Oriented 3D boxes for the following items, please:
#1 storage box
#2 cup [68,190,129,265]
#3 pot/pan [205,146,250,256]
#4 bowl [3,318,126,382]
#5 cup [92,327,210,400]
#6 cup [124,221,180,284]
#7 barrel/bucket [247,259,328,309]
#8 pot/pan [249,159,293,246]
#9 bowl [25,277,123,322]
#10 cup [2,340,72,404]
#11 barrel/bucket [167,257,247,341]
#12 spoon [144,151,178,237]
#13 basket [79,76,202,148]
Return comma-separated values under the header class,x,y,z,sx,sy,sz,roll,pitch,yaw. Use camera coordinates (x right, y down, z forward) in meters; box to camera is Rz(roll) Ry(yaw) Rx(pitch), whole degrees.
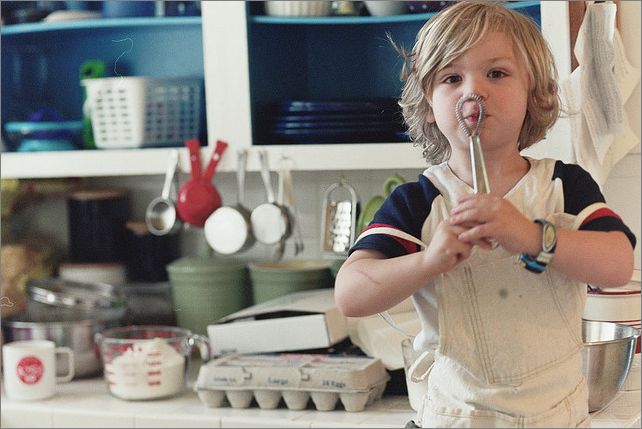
class,x,y,z,sx,sy,sz,roll,pitch,yaw
storage box,-0.540,-0.295,2.175,0.299,0.156,0.201,0,-3,-39
cup,-0.732,0.049,2.414,0.224,0.243,0.232,0,-3,0
pot/pan,-0.284,-0.033,2.186,0.133,0.313,0.045,4,-3,12
bowl,-0.810,0.414,2.252,0.268,0.120,0.175,0,-4,9
cup,-0.483,0.442,2.168,0.356,0.179,0.299,-1,0,16
cup,-0.556,0.133,2.374,0.196,0.196,0.178,-2,-2,42
barrel/bucket,-0.108,0.258,2.396,0.250,0.183,0.236,-1,5,0
pot/pan,-0.159,-0.033,2.218,0.112,0.260,0.036,-8,-2,9
bowl,-0.792,0.271,2.305,0.307,0.138,0.218,-2,6,22
cup,-0.820,0.451,2.076,0.198,0.141,0.123,3,-6,-34
barrel/bucket,-0.357,0.265,2.383,0.227,0.213,0.244,0,1,0
spoon,-0.479,-0.065,2.233,0.104,0.273,0.036,18,24,15
basket,-0.558,-0.320,2.293,0.250,0.184,0.348,3,9,39
